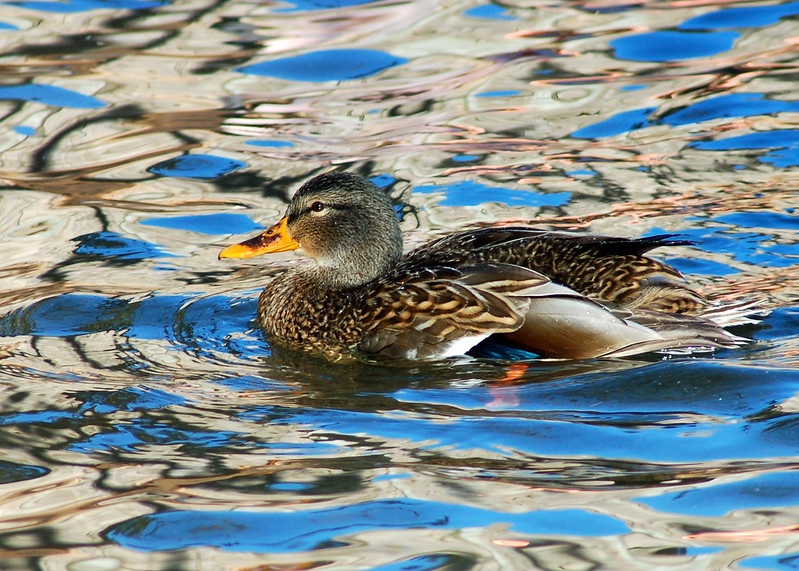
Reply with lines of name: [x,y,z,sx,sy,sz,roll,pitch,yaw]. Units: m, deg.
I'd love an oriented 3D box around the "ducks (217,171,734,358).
"ducks: [0.682,0.080,7.154,4.446,0.751,0.945,5,29,-7]
